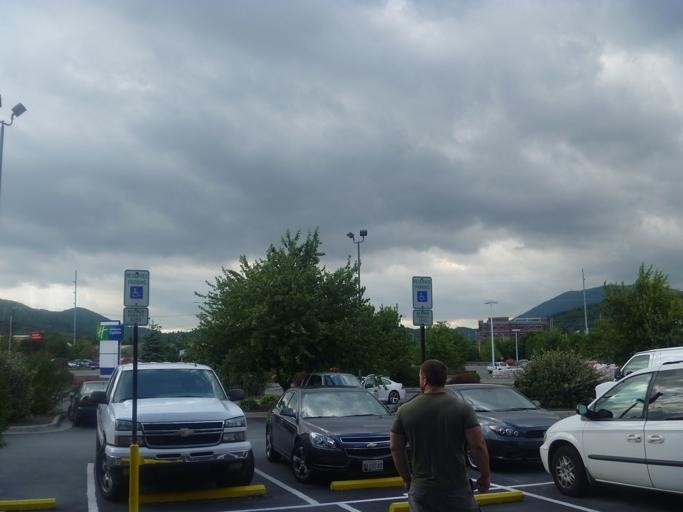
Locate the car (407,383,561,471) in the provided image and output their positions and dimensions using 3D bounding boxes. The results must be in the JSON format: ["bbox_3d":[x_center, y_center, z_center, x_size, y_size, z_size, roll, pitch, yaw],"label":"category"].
[{"bbox_3d":[3.762,3.650,17.335,1.931,1.589,4.655,2,-9,-22],"label":"car"}]

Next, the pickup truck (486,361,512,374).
[{"bbox_3d":[18.121,12.947,90.633,1.919,1.674,3.301,1,-8,-12],"label":"pickup truck"}]

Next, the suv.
[{"bbox_3d":[-3.241,3.018,14.941,1.925,1.678,3.452,3,-22,-18],"label":"suv"}]
